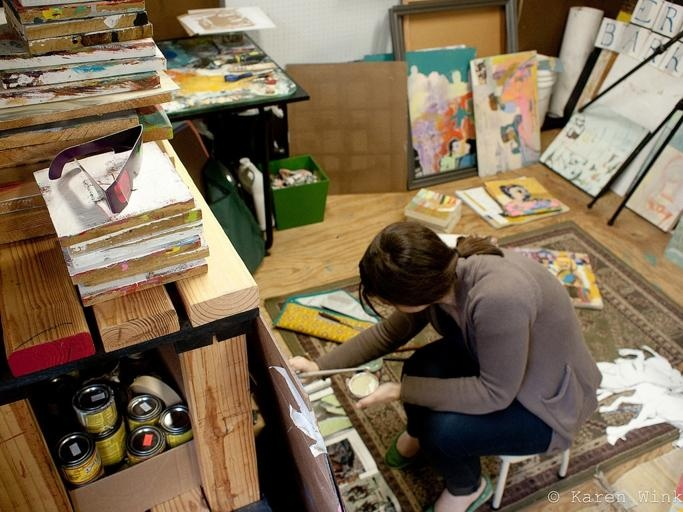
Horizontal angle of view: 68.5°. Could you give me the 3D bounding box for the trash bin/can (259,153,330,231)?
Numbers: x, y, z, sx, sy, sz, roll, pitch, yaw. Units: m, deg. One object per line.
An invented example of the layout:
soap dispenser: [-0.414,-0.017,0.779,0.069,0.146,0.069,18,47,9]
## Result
trash bin/can: [-0.326,-0.412,3.504,0.495,0.444,0.476,-9,46,-11]

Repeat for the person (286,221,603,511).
person: [0.411,0.500,2.046,1.179,1.114,0.692,-5,38,5]

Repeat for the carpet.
carpet: [0.341,0.469,2.068,1.421,0.164,1.429,-16,52,-21]
